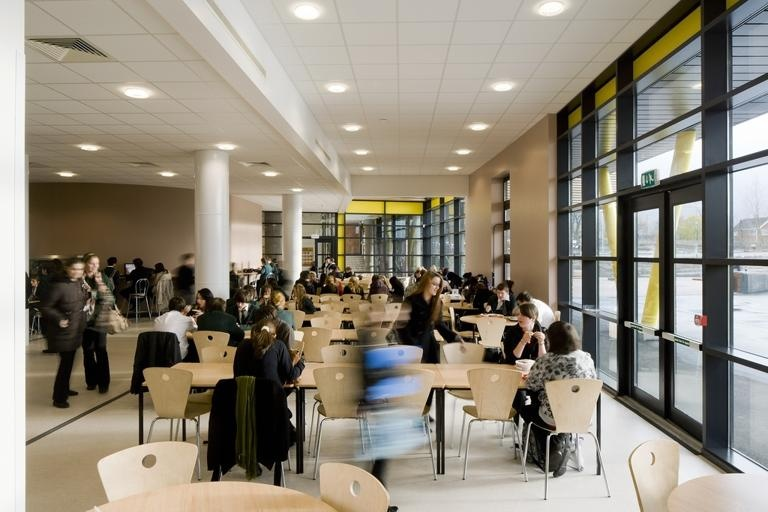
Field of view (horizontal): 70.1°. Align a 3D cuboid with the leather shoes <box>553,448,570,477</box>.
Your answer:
[{"bbox_3d":[1.790,2.133,5.646,0.128,0.368,0.156,2,22,-1],"label":"leather shoes"}]

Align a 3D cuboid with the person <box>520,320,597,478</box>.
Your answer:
[{"bbox_3d":[1.683,1.469,5.580,0.797,1.613,0.688,6,14,28],"label":"person"}]

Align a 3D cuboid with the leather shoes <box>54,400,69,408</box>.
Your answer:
[{"bbox_3d":[-4.293,1.978,7.258,0.203,0.085,0.078,2,1,9],"label":"leather shoes"}]
